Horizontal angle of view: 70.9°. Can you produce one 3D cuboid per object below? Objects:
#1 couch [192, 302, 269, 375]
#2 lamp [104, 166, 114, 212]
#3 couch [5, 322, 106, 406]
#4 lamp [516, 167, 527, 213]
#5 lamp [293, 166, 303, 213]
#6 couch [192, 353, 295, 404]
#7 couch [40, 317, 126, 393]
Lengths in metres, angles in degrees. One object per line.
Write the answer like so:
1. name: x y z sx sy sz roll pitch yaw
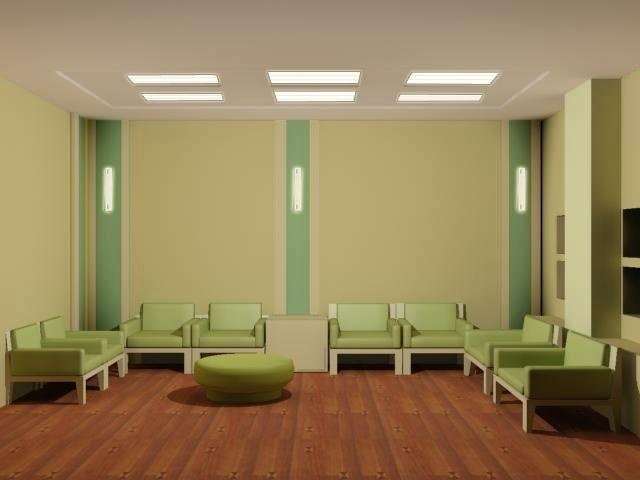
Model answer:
1. couch: -1.371 1.634 7.504 1.429 1.011 0.925 0 -6 -1
2. lamp: -3.695 -0.867 7.839 0.183 0.788 0.051 0 3 -3
3. couch: -3.478 1.673 6.277 1.186 0.912 0.963 0 -2 -1
4. lamp: 3.514 -0.866 7.833 0.189 0.788 0.061 0 3 1
5. lamp: -0.392 -0.860 7.778 0.175 0.782 0.051 0 3 -4
6. couch: -1.021 1.892 6.028 1.267 0.511 0.650 -1 3 -14
7. couch: -3.518 1.573 6.710 1.273 0.870 0.836 0 -2 4
